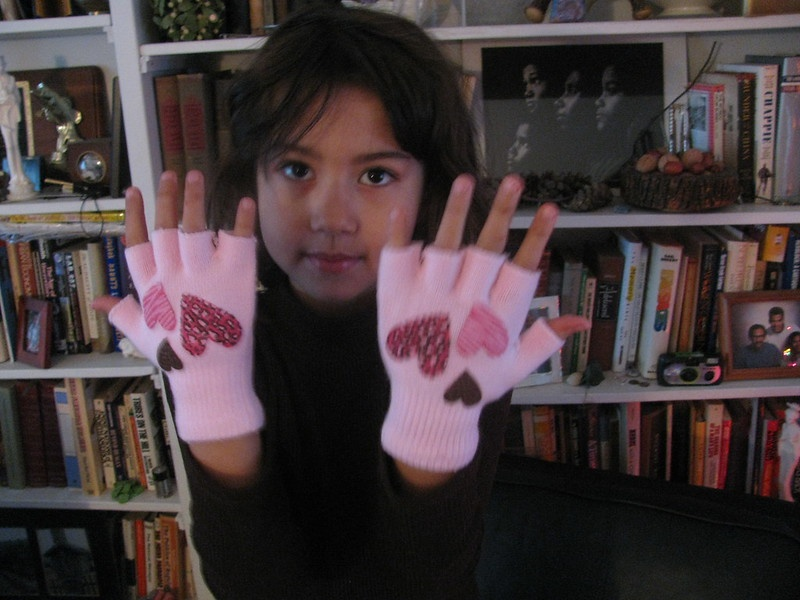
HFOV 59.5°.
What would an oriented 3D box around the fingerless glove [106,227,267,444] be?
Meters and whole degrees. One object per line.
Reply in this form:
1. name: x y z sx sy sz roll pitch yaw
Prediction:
1. fingerless glove: -0.362 0.050 1.122 0.303 0.115 0.446 -4 45 -5
